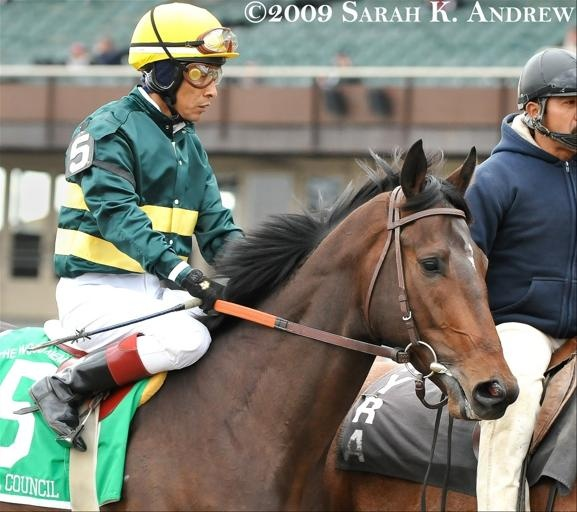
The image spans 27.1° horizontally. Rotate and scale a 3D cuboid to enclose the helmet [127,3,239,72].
[{"bbox_3d":[-0.523,-1.059,5.872,0.433,0.233,0.318,-1,2,16],"label":"helmet"}]
